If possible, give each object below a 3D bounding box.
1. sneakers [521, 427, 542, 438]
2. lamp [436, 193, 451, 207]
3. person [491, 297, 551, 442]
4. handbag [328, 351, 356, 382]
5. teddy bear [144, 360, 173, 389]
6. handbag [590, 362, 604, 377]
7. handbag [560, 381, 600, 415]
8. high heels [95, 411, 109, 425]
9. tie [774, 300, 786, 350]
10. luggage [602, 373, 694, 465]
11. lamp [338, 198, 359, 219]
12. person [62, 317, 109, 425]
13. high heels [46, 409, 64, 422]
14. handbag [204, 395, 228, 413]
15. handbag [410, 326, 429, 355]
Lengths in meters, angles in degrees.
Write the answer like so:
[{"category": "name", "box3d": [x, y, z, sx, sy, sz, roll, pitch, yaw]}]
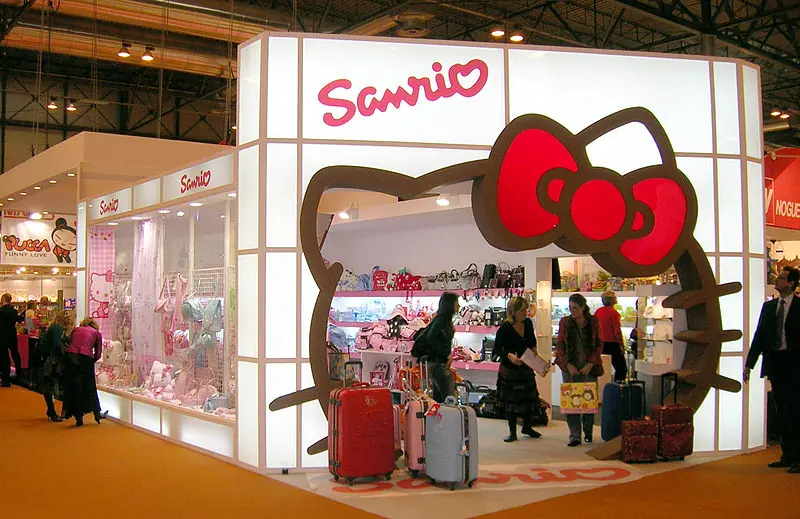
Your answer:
[{"category": "sneakers", "box3d": [1.857, 2.468, 9.253, 0.300, 0.209, 0.115, -1, -4, 4]}, {"category": "lamp", "box3d": [0.734, -1.007, 11.113, 0.175, 0.167, 0.191, 7, -13, -26]}, {"category": "person", "box3d": [1.637, 1.523, 8.964, 0.650, 1.986, 0.893, -2, -5, 8]}, {"category": "handbag", "box3d": [-0.783, 1.403, 8.560, 0.351, 0.627, 0.343, -2, 0, -4]}, {"category": "teddy bear", "box3d": [-3.677, 1.779, 9.967, 0.364, 0.383, 0.212, -9, -19, 16]}, {"category": "handbag", "box3d": [2.705, 1.514, 8.901, 0.115, 0.209, 0.340, -4, -6, 36]}, {"category": "handbag", "box3d": [2.372, 1.841, 8.628, 0.476, 0.432, 0.157, 0, 5, -3]}, {"category": "high heels", "box3d": [-4.703, 2.506, 10.284, 0.091, 0.109, 0.270, 0, 4, -3]}, {"category": "tie", "box3d": [4.703, 0.799, 8.008, 0.179, 0.654, 0.058, -3, -5, 27]}, {"category": "luggage", "box3d": [3.248, 2.035, 8.497, 0.966, 1.078, 0.750, -1, -5, -4]}, {"category": "lamp", "box3d": [-1.002, -0.981, 12.703, 0.270, 0.403, 0.415, 10, 12, -18]}, {"category": "person", "box3d": [-4.927, 1.743, 10.112, 0.508, 1.631, 0.303, 2, -5, -27]}, {"category": "high heels", "box3d": [-5.541, 2.517, 10.448, 0.131, 0.196, 0.398, 2, 2, -2]}, {"category": "handbag", "box3d": [-2.463, 1.947, 8.756, 0.209, 0.288, 0.100, 2, -8, 7]}, {"category": "handbag", "box3d": [0.247, 1.104, 8.696, 0.136, 0.348, 0.245, 10, 8, 39]}]
